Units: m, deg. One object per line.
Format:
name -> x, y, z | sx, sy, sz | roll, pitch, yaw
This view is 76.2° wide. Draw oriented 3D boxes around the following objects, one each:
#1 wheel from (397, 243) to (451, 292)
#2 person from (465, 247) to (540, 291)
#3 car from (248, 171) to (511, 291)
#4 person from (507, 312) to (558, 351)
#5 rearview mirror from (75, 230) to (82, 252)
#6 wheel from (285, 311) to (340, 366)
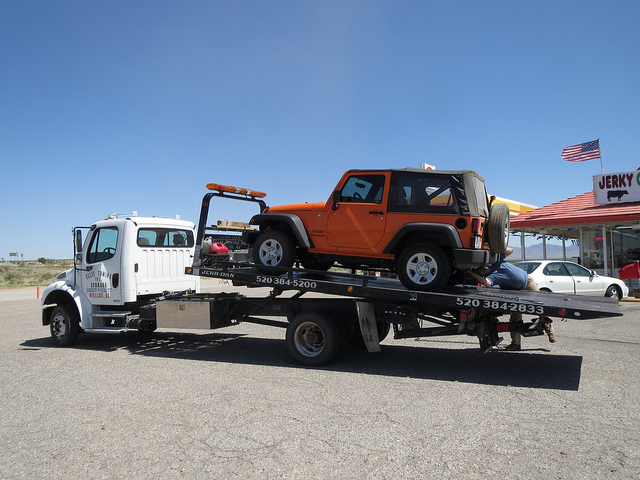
wheel -> 1.853, 0.488, 7.211 | 0.932, 0.986, 0.355 | 1, 4, 36
person -> 3.992, 0.667, 8.878 | 1.379, 0.766, 0.366 | 20, -17, -8
car -> 1.362, -0.297, 8.229 | 4.139, 1.938, 2.457 | 7, 3, 22
person -> 3.842, 1.589, 7.530 | 1.112, 0.645, 0.420 | -8, 0, -20
rearview mirror -> -5.602, 0.026, 9.468 | 0.155, 0.498, 0.124 | -5, -4, 39
wheel -> -0.107, 1.812, 7.496 | 0.927, 0.981, 0.347 | -1, -9, 24
